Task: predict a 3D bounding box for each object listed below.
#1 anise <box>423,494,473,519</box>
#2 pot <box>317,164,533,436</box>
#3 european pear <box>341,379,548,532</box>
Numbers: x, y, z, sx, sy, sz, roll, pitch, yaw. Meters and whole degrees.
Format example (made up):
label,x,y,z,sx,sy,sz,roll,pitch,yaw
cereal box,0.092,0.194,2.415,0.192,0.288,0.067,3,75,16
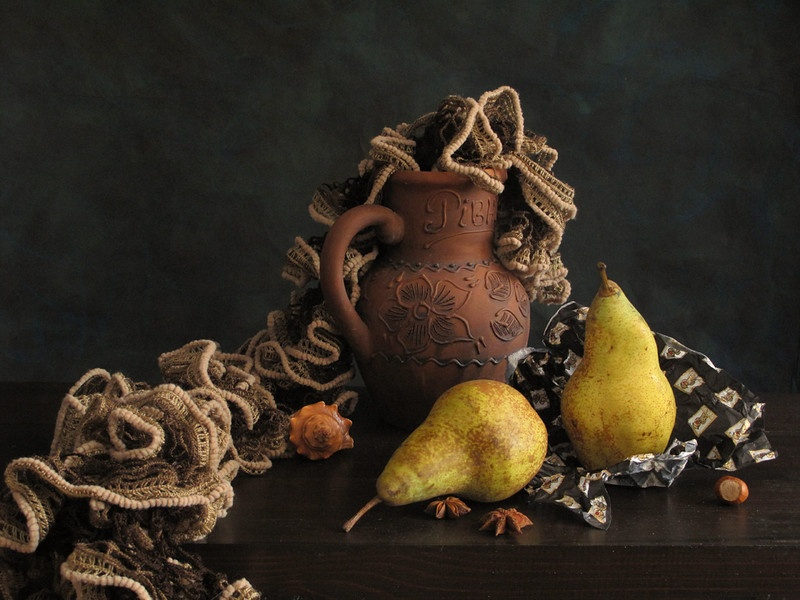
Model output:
label,x,y,z,sx,sy,sz,roll,pitch,yaw
anise,0.053,0.234,1.093,0.032,0.013,0.026,-10,3,-2
pot,0.039,-0.009,1.330,0.302,0.321,0.235,-2,9,-6
european pear,0.073,0.173,1.153,0.233,0.120,0.125,-26,-51,-13
